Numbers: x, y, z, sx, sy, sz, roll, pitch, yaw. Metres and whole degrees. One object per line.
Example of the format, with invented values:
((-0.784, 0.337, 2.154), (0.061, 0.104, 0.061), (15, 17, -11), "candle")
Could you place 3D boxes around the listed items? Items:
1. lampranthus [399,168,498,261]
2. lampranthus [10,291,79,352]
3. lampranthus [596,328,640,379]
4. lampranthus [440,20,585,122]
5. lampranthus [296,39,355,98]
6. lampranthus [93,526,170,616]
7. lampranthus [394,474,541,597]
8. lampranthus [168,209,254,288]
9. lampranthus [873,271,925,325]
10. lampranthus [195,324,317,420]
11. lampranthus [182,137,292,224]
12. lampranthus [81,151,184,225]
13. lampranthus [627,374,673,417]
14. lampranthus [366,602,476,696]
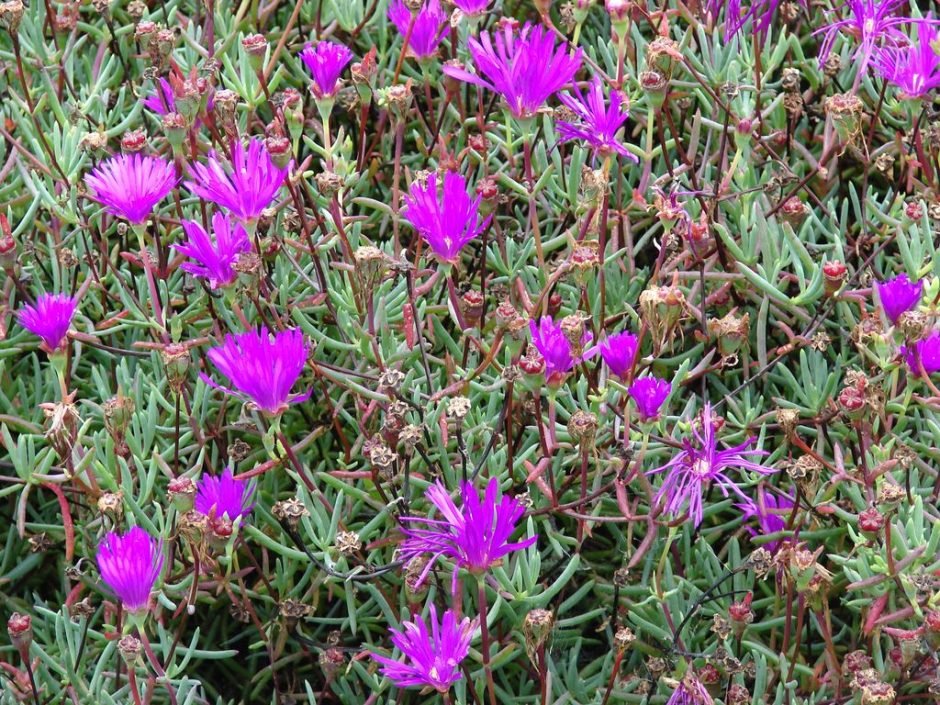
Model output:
((-0.024, -0.121, 1.094), (0.085, 0.093, 0.112), (3, 86, -32), "lampranthus")
((-0.421, -0.028, 1.129), (0.049, 0.046, 0.063), (-22, 113, -28), "lampranthus")
((0.150, 0.003, 1.111), (0.040, 0.045, 0.055), (-5, 84, 18), "lampranthus")
((0.044, -0.294, 1.203), (0.126, 0.128, 0.100), (-20, 109, -49), "lampranthus")
((-0.162, -0.311, 1.239), (0.048, 0.050, 0.066), (-8, 112, -30), "lampranthus")
((-0.311, 0.205, 1.024), (0.053, 0.058, 0.075), (-7, 91, -28), "lampranthus")
((-0.010, 0.153, 0.983), (0.100, 0.058, 0.108), (-31, 37, -7), "lampranthus")
((-0.251, -0.101, 1.102), (0.069, 0.060, 0.075), (18, 61, 24), "lampranthus")
((0.440, -0.056, 1.141), (0.043, 0.053, 0.063), (-3, 106, -4), "lampranthus")
((-0.197, 0.012, 1.027), (0.079, 0.085, 0.082), (-1, 29, 9), "lampranthus")
((-0.227, -0.155, 1.125), (0.092, 0.111, 0.094), (-4, 72, 0), "lampranthus")
((-0.353, -0.162, 1.158), (0.087, 0.102, 0.073), (-8, 81, -13), "lampranthus")
((0.173, 0.040, 1.057), (0.032, 0.046, 0.037), (1, 25, -1), "lampranthus")
((-0.023, 0.272, 0.995), (0.107, 0.104, 0.067), (21, 55, -45), "lampranthus")
